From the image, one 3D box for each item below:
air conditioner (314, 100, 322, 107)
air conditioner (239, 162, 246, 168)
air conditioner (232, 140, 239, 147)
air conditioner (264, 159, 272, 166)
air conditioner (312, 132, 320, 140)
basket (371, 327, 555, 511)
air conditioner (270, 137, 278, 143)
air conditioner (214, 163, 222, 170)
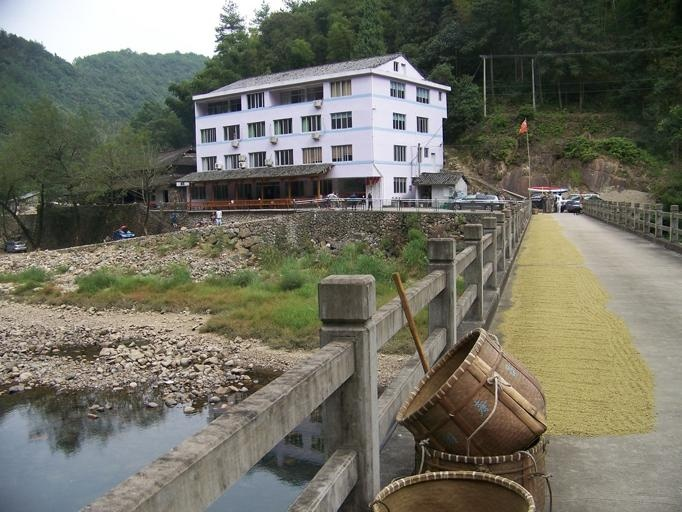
[{"bbox_3d":[-1.478,-10.161,46.319,0.580,0.548,0.496,-7,11,1],"label":"air conditioner"},{"bbox_3d":[-7.145,-6.612,50.327,0.347,0.302,0.372,-2,-3,7],"label":"air conditioner"},{"bbox_3d":[-7.848,-8.287,51.273,0.471,0.434,0.462,-3,-5,21],"label":"air conditioner"},{"bbox_3d":[-5.164,-6.588,49.048,0.429,0.471,0.426,1,-3,-44],"label":"air conditioner"},{"bbox_3d":[-1.646,-8.039,46.453,0.441,0.498,0.471,-2,1,26],"label":"air conditioner"},{"bbox_3d":[1.160,1.478,6.317,1.600,1.541,1.338,3,-11,-12],"label":"basket"},{"bbox_3d":[-4.743,-8.192,48.898,0.462,0.382,0.480,-5,-6,40],"label":"air conditioner"},{"bbox_3d":[-9.373,-6.781,52.773,0.469,0.409,0.500,-1,-2,2],"label":"air conditioner"}]
